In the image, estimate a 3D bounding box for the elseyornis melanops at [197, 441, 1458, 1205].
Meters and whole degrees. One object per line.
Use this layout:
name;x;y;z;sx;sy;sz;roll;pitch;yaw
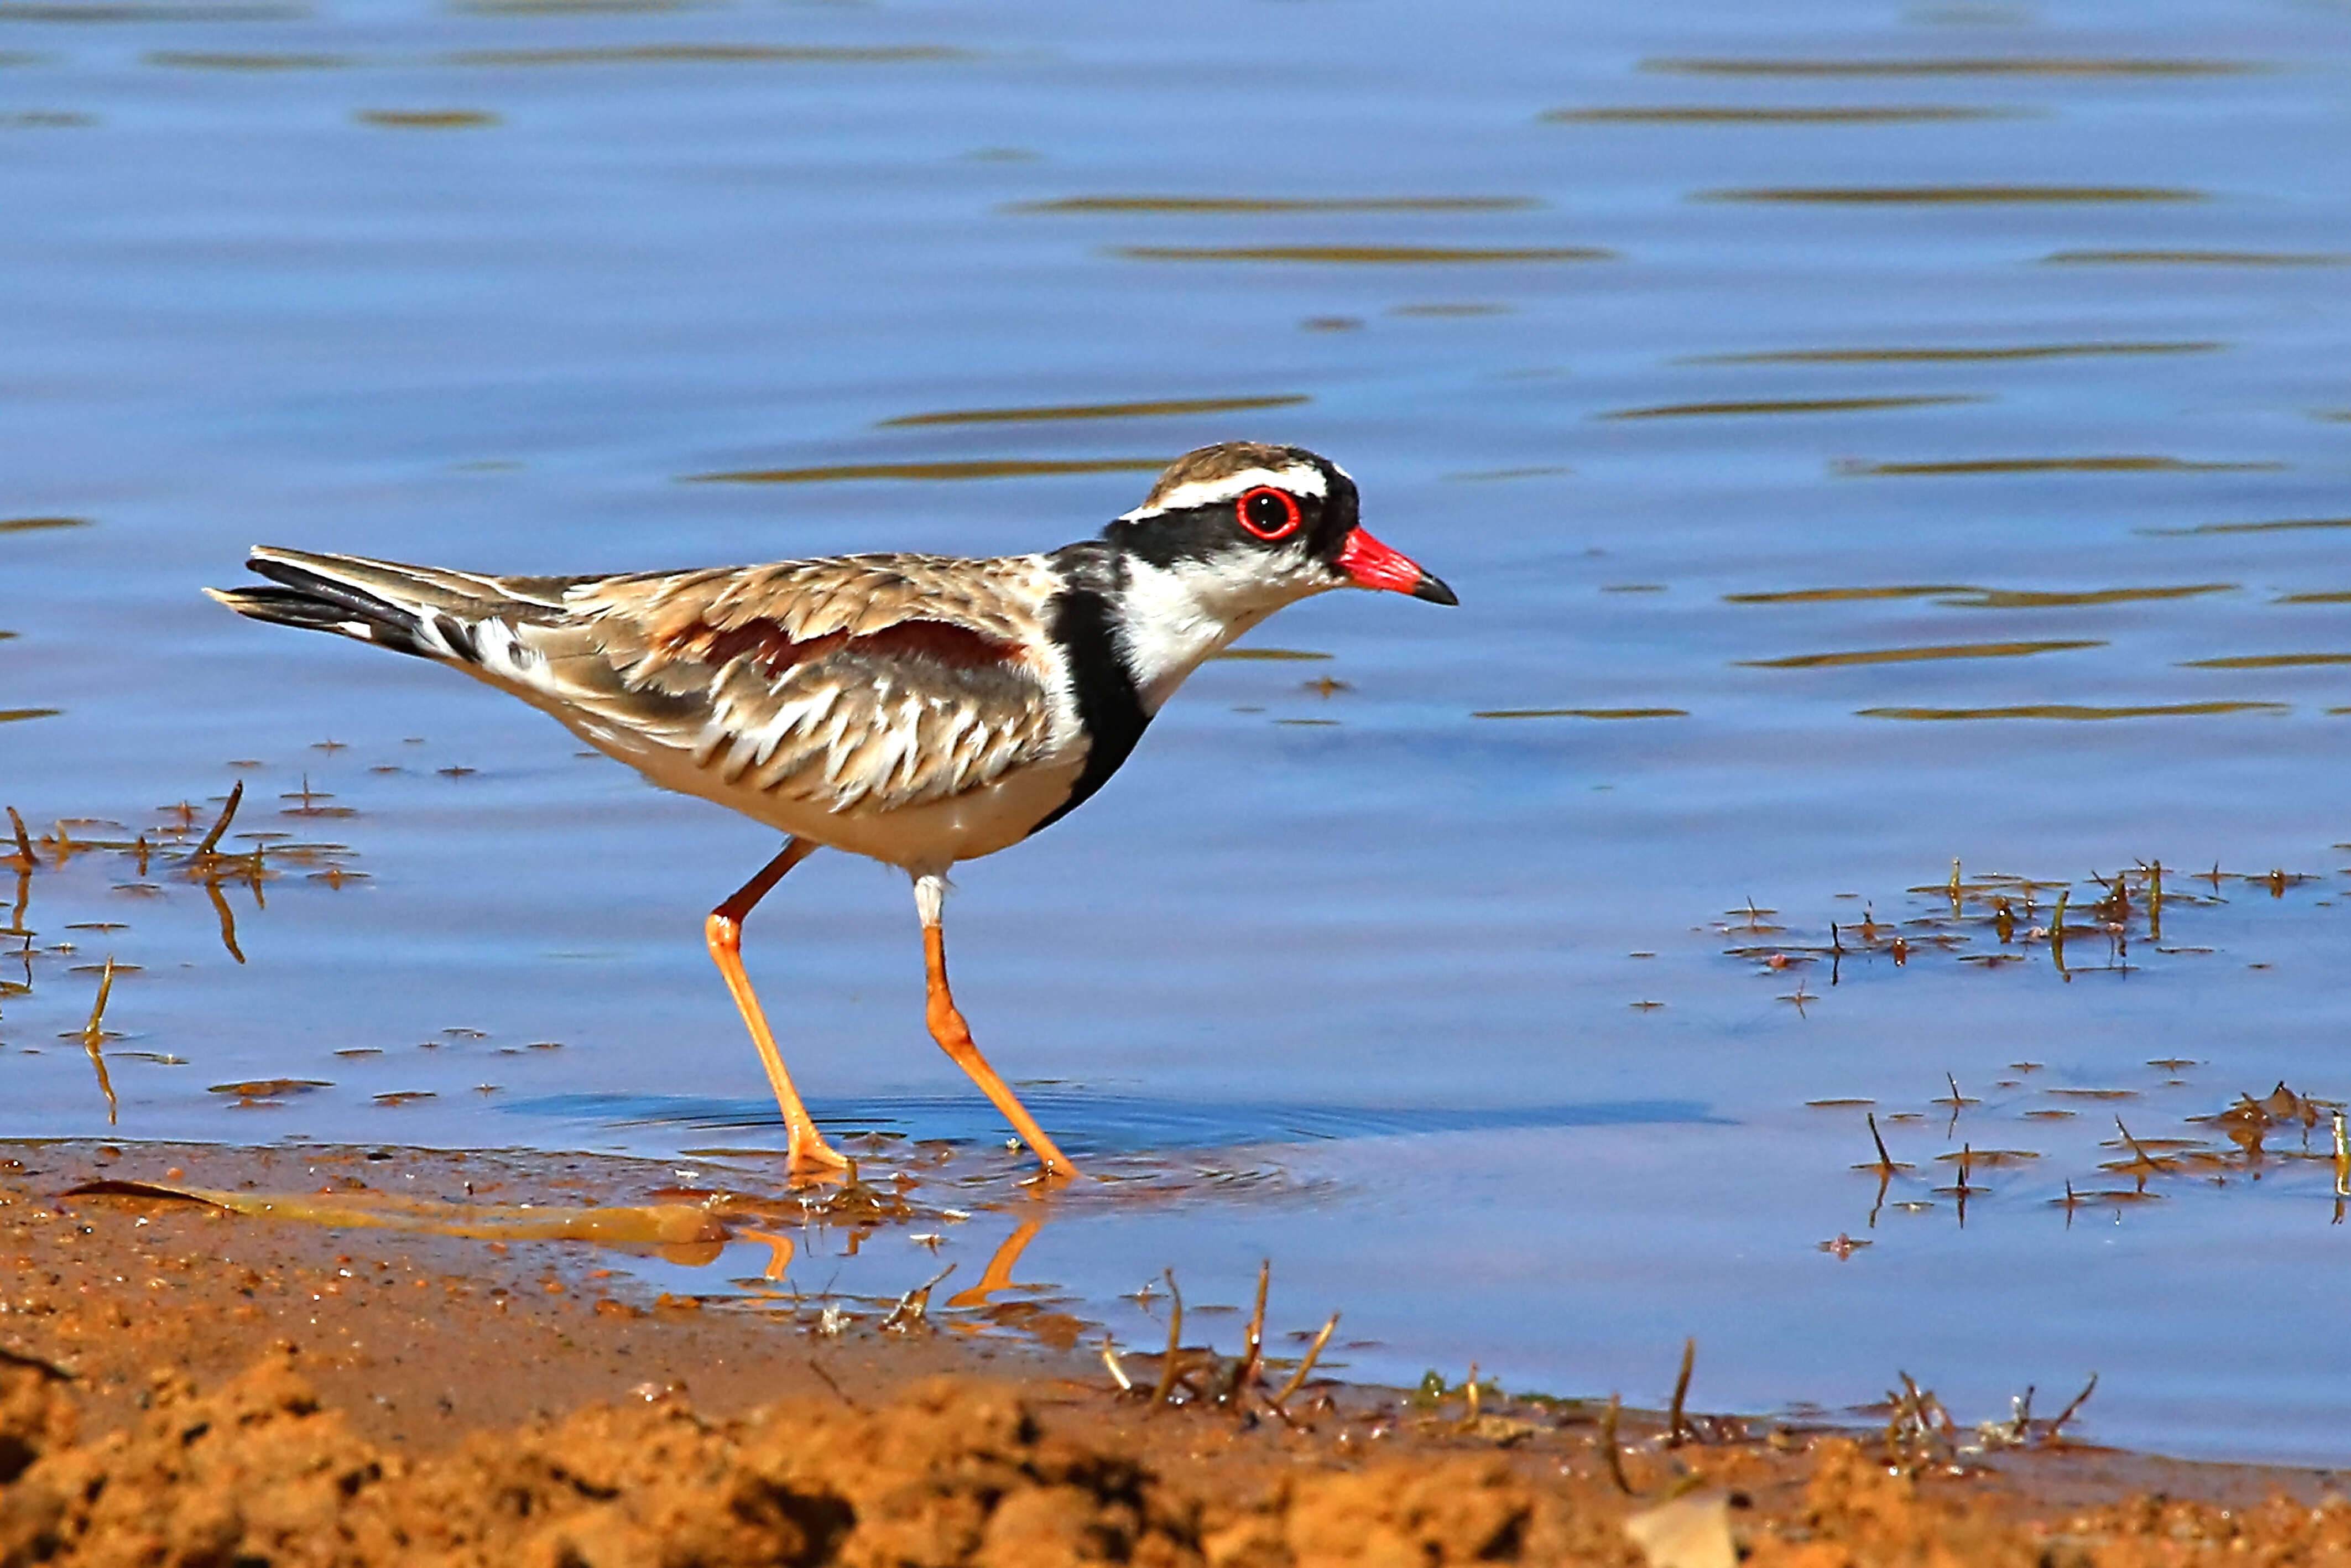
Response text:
elseyornis melanops;-1.149;0.014;9.430;3.649;2.688;0.501;6;-19;2
